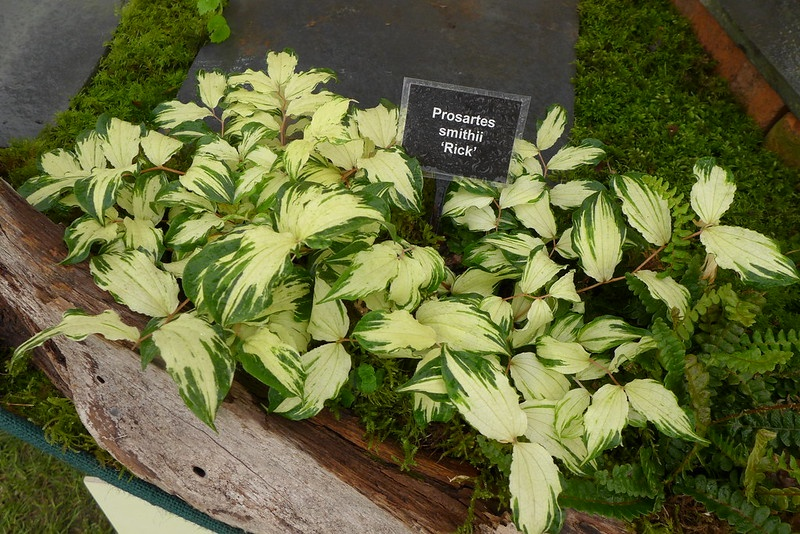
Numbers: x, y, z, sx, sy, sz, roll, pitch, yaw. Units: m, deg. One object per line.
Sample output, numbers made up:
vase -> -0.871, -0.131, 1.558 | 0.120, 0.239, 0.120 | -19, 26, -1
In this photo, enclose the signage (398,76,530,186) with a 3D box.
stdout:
signage -> 0.301, -0.631, 2.851 | 0.703, 0.543, 0.055 | 8, 23, 0
